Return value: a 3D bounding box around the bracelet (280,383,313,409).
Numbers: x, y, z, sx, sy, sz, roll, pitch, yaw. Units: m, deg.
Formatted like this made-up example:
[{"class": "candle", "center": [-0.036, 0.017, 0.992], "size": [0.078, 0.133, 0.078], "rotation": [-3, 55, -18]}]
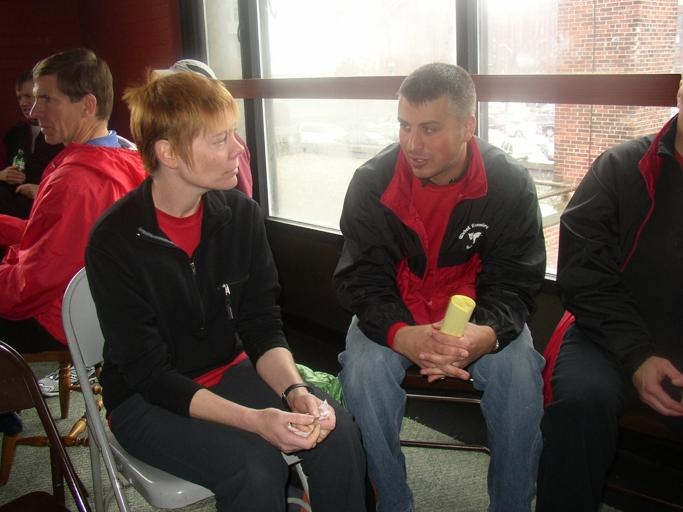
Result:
[{"class": "bracelet", "center": [-0.145, 0.427, 1.540], "size": [0.071, 0.078, 0.078], "rotation": [-13, -13, -13]}]
